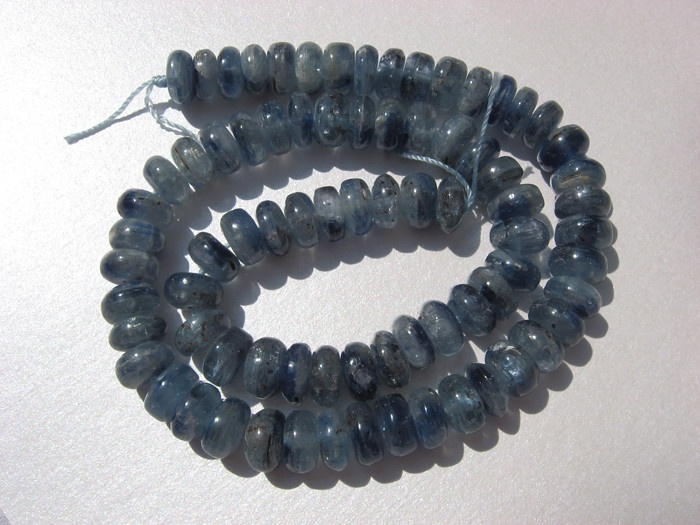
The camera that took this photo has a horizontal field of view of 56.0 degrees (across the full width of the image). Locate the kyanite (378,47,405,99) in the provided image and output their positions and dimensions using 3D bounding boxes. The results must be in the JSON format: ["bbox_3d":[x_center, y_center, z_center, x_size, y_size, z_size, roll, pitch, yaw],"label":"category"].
[{"bbox_3d":[0.138,-0.640,2.223,0.079,0.187,0.054,1,11,-3],"label":"kyanite"}]

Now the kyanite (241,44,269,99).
[{"bbox_3d":[-0.319,-0.632,2.194,0.068,0.174,0.081,3,7,6],"label":"kyanite"}]

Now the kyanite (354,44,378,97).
[{"bbox_3d":[0.037,-0.644,2.199,0.041,0.146,0.127,11,18,18],"label":"kyanite"}]

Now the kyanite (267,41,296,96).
[{"bbox_3d":[-0.255,-0.660,2.255,0.088,0.188,0.102,-4,14,-31],"label":"kyanite"}]

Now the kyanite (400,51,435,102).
[{"bbox_3d":[0.234,-0.599,2.257,0.104,0.214,0.109,6,-16,3],"label":"kyanite"}]

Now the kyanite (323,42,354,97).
[{"bbox_3d":[-0.032,-0.634,2.254,0.110,0.219,0.113,1,-23,-5],"label":"kyanite"}]

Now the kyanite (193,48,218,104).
[{"bbox_3d":[-0.483,-0.626,2.199,0.029,0.135,0.118,2,-19,-25],"label":"kyanite"}]
